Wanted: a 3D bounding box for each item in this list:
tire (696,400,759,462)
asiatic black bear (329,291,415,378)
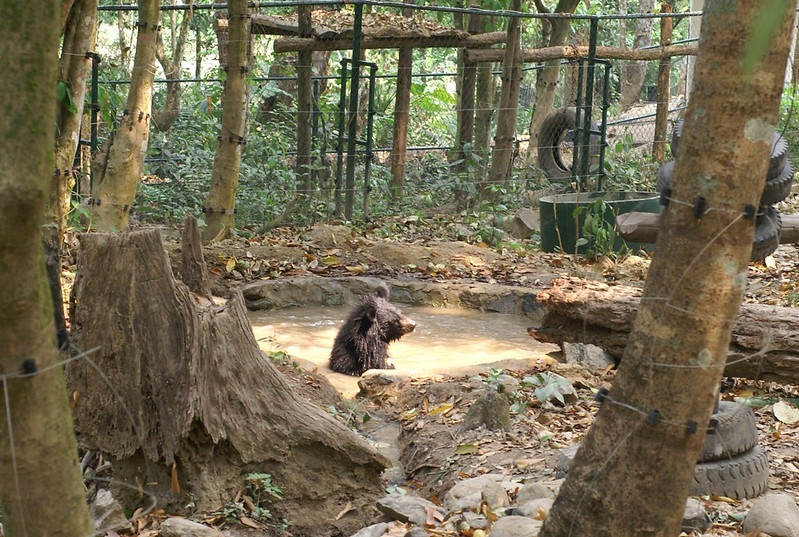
[{"bbox_3d":[2.164,1.092,6.055,0.434,0.170,0.456,-6,-5,11],"label":"tire"},{"bbox_3d":[-0.300,0.658,9.210,0.864,0.890,0.631,0,17,6],"label":"asiatic black bear"}]
